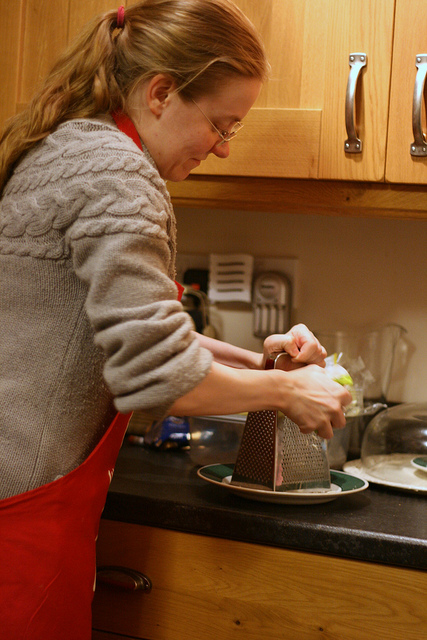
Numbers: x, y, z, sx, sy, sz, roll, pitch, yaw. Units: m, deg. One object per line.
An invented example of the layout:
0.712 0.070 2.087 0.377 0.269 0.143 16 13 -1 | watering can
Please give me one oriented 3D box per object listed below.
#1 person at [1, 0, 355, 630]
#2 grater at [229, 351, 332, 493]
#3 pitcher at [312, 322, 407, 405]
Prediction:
-0.073 0.014 0.727 0.358 0.848 0.357 2 4 -44 | person
0.111 0.173 0.940 0.128 0.226 0.154 1 -9 45 | grater
0.409 0.082 1.535 0.257 0.209 0.193 5 13 28 | pitcher
